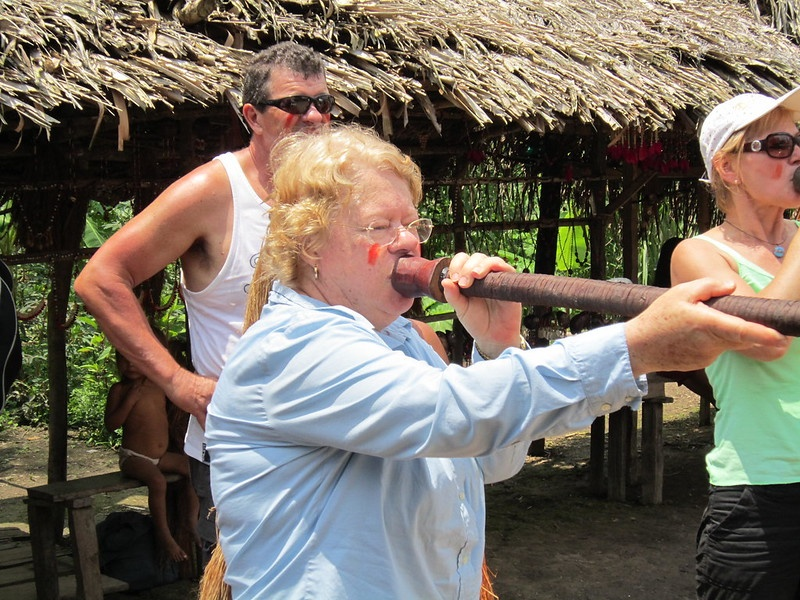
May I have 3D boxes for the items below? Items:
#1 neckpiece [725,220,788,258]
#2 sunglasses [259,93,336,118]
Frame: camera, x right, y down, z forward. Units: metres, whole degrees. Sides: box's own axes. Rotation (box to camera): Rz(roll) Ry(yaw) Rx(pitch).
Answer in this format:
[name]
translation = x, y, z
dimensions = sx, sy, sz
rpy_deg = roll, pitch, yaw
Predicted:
[neckpiece]
translation = 1.494, -0.244, 3.709
dimensions = 0.308, 0.104, 0.033
rpy_deg = 32, -31, -1
[sunglasses]
translation = -0.413, -0.829, 3.820
dimensions = 0.189, 0.044, 0.182
rpy_deg = -6, 4, -41
